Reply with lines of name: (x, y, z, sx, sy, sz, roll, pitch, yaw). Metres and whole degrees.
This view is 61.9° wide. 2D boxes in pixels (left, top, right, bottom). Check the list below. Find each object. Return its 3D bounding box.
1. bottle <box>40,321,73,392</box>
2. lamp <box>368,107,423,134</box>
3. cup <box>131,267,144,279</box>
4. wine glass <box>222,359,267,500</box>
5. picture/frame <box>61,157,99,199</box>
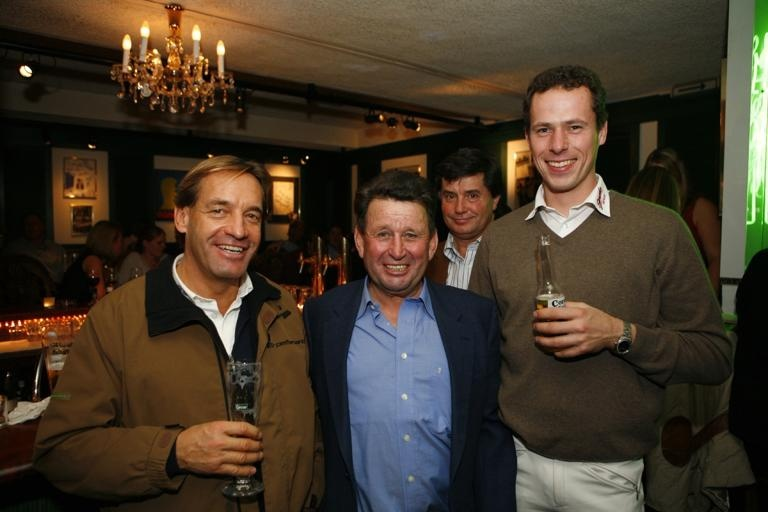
bottle: (-2.275, 0.712, 4.442, 0.157, 0.468, 0.156, 4, -9, 1)
lamp: (0.110, -2.100, 9.830, 0.719, 0.299, 0.659, 7, 8, -34)
cup: (-2.222, 0.151, 5.758, 0.081, 0.125, 0.086, 4, -10, 1)
wine glass: (-0.792, 0.970, 3.587, 0.219, 0.790, 0.195, -2, 5, -8)
picture/frame: (-4.817, -1.230, 10.088, 0.038, 0.919, 0.690, 1, 3, 45)
